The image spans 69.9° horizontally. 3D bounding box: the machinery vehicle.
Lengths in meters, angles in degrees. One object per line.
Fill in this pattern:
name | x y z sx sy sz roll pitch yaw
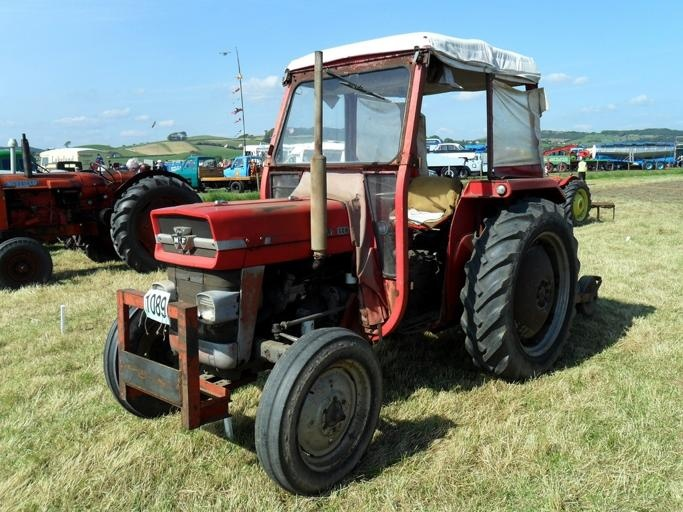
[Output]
machinery vehicle | 0.283 -0.228 4.826 4.617 3.010 2.444 -4 6 -45
